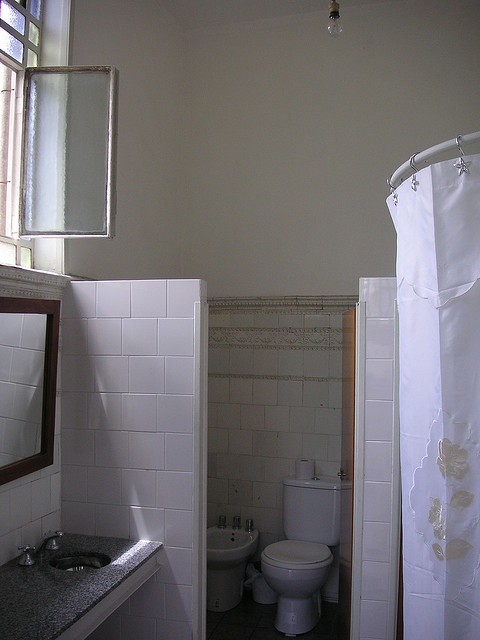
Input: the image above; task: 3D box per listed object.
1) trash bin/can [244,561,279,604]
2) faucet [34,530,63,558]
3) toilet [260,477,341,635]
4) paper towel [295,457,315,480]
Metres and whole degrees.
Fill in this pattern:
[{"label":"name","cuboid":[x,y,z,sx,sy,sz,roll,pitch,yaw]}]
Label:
[{"label":"trash bin/can","cuboid":[0.104,1.413,3.241,0.182,0.236,0.125,0,0,-7]},{"label":"faucet","cuboid":[-0.647,0.763,2.038,0.044,0.052,0.107,-1,2,13]},{"label":"toilet","cuboid":[0.315,1.169,2.999,0.355,0.657,0.469,0,2,21]},{"label":"paper towel","cuboid":[0.344,0.797,3.216,0.078,0.100,0.088,-2,-11,18]}]
